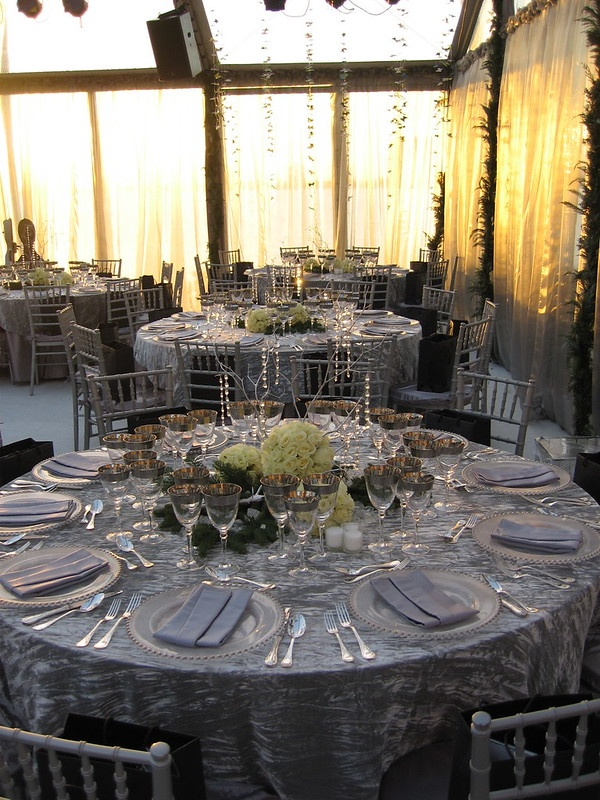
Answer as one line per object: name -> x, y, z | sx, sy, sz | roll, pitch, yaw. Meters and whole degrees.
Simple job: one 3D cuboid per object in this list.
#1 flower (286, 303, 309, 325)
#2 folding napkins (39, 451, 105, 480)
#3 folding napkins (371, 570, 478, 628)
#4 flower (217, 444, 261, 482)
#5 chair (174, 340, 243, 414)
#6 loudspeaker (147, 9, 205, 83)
flower -> -0.017, -0.629, 4.441 | 0.170, 0.146, 0.194 | -2, 9, 4
folding napkins -> -0.736, 0.214, 1.979 | 0.152, 0.034, 0.163 | 11, 22, 12
folding napkins -> 0.226, 0.359, 1.139 | 0.082, 0.020, 0.113 | -4, 16, -25
flower -> -0.168, 0.167, 1.641 | 0.091, 0.060, 0.089 | 13, 1, -45
chair -> -0.514, -0.131, 3.438 | 0.315, 0.514, 0.310 | 6, 37, 6
loudspeaker -> -1.450, -4.172, 7.087 | 0.523, 0.689, 0.512 | -23, 43, -15
